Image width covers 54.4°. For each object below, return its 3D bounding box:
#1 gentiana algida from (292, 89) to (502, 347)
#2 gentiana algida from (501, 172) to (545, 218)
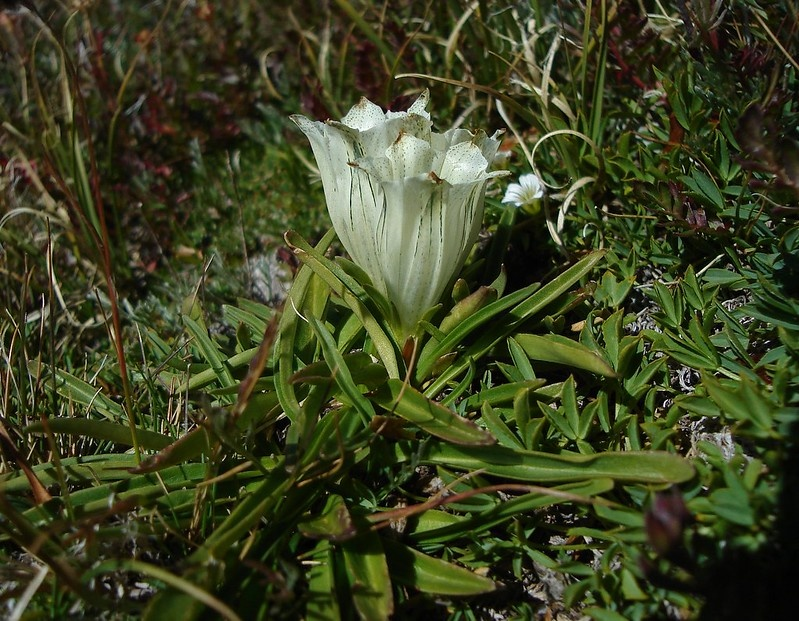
[{"bbox_3d":[-0.054,-0.303,2.150,0.468,0.733,0.550,-12,28,-41],"label":"gentiana algida"},{"bbox_3d":[0.372,-0.334,2.281,0.106,0.054,0.123,-8,57,39],"label":"gentiana algida"}]
